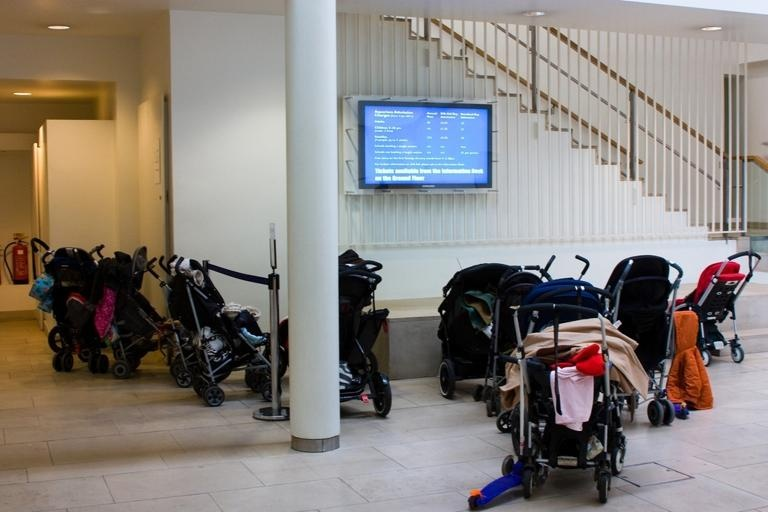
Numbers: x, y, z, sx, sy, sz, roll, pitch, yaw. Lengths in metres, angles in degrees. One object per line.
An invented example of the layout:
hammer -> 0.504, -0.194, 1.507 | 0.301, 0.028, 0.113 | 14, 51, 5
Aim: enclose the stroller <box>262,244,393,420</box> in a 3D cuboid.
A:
stroller -> -0.588, 0.742, 6.498 | 1.238, 2.069, 1.409 | -2, 6, -22
